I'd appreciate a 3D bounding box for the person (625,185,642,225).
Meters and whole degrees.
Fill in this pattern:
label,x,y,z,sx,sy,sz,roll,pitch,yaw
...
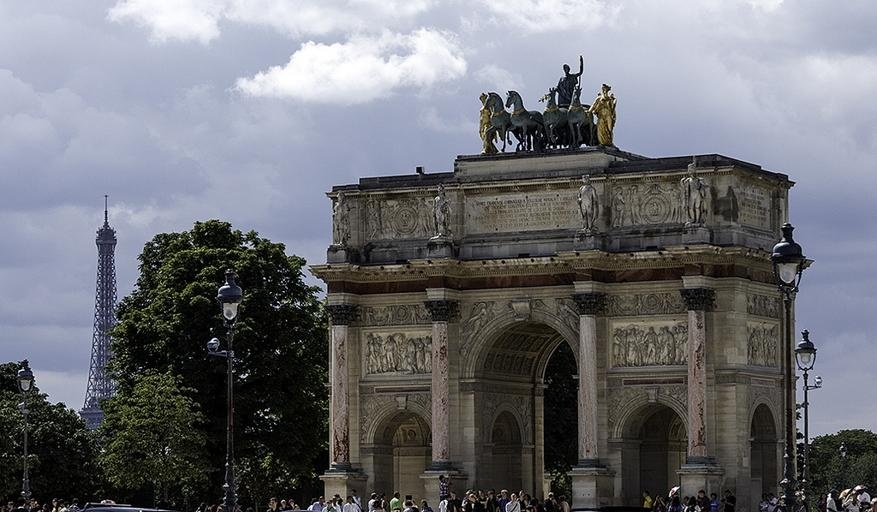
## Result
label,x,y,z,sx,sy,sz,roll,pitch,yaw
person,12.078,-3.062,122.704,0.639,2.396,0.424,-2,-14,6

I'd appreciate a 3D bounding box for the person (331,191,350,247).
label,x,y,z,sx,sy,sz,roll,pitch,yaw
person,-6.061,-2.168,127.329,0.980,3.553,0.882,0,-14,-2
